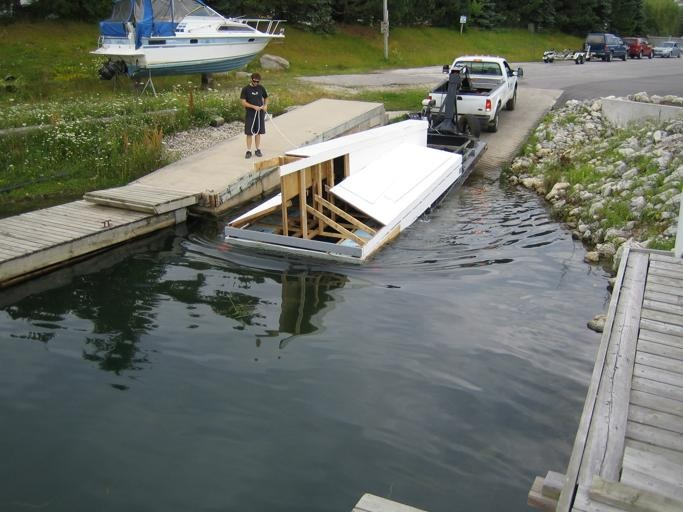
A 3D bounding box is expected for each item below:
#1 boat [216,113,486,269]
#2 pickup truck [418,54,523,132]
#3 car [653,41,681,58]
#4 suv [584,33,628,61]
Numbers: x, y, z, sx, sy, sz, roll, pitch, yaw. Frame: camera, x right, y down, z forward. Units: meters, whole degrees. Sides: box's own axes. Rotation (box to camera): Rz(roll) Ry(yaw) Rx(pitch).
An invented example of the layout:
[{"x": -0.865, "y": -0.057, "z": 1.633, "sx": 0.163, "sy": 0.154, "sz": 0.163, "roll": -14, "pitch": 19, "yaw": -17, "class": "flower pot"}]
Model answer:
[{"x": 0.748, "y": -1.255, "z": 13.309, "sx": 2.638, "sy": 1.935, "sz": 5.363, "roll": 18, "pitch": 35, "yaw": 31, "class": "boat"}, {"x": 4.394, "y": -5.035, "z": 19.600, "sx": 2.115, "sy": 1.448, "sz": 3.979, "roll": 9, "pitch": 32, "yaw": 25, "class": "pickup truck"}, {"x": 26.101, "y": -16.267, "z": 48.578, "sx": 1.351, "sy": 0.940, "sz": 2.679, "roll": 19, "pitch": 32, "yaw": 40, "class": "car"}, {"x": 18.828, "y": -14.611, "z": 43.323, "sx": 3.310, "sy": 1.367, "sz": 1.784, "roll": -29, "pitch": 36, "yaw": -33, "class": "suv"}]
